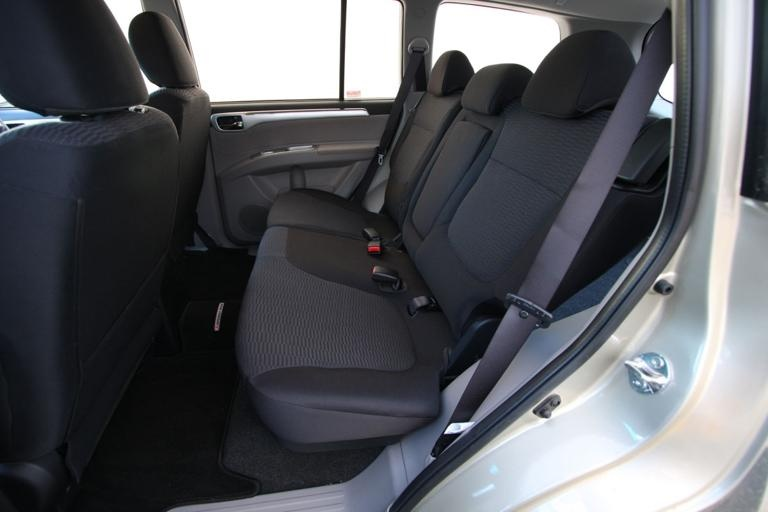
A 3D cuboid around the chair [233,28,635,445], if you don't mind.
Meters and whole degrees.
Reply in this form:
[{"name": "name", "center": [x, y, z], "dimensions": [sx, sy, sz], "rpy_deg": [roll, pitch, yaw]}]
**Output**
[{"name": "chair", "center": [0.130, -0.108, 1.752], "dimensions": [0.935, 1.038, 1.471], "rpy_deg": [2, 21, -6]}]
